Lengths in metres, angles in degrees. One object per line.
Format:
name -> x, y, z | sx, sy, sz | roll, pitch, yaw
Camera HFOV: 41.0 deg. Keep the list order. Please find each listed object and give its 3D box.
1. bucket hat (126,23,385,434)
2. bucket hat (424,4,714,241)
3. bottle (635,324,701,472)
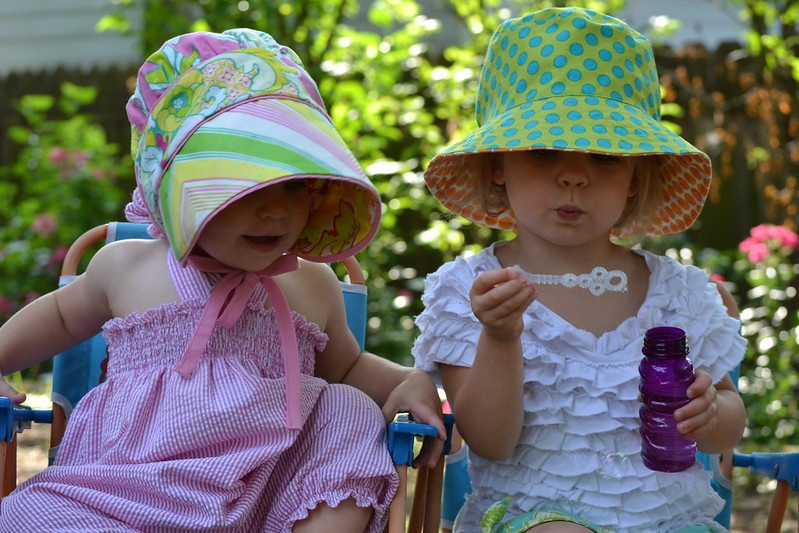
bucket hat -> -0.582, -0.220, 4.096 | 0.788, 1.399, 1.313 | 4, -3, -28
bucket hat -> 0.689, -0.380, 4.306 | 0.840, 0.560, 0.960 | 4, -15, 6
bottle -> 0.920, 0.459, 3.674 | 0.180, 0.514, 0.156 | -1, 0, 15
